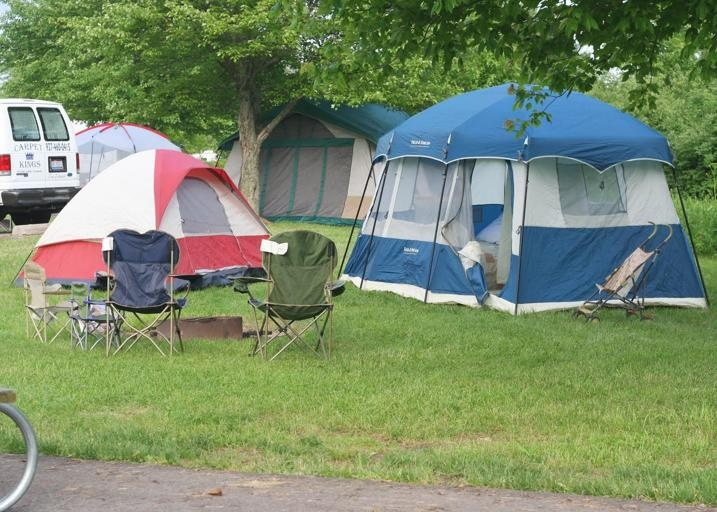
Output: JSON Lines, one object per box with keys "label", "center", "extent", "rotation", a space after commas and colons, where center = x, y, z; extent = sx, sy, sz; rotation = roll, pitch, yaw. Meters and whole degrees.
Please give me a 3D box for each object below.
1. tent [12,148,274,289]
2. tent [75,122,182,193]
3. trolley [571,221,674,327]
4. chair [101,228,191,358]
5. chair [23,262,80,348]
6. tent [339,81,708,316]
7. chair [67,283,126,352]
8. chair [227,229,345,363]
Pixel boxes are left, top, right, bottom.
{"label": "tent", "center": [-3.713, -0.811, 16.727], "extent": [3.363, 2.045, 4.098], "rotation": [-1, 3, 30]}
{"label": "tent", "center": [-6.330, -2.964, 25.495], "extent": [2.678, 1.047, 2.655], "rotation": [1, 5, 11]}
{"label": "trolley", "center": [4.028, 0.193, 14.482], "extent": [1.146, 1.462, 1.744], "rotation": [5, 5, 27]}
{"label": "chair", "center": [-2.862, 0.481, 12.623], "extent": [1.413, 1.657, 1.421], "rotation": [0, 0, 35]}
{"label": "chair", "center": [-4.091, 0.595, 12.987], "extent": [0.668, 0.940, 0.586], "rotation": [3, 4, -27]}
{"label": "tent", "center": [2.565, -1.031, 15.504], "extent": [4.947, 3.631, 2.511], "rotation": [6, 5, 37]}
{"label": "chair", "center": [-3.481, 0.799, 12.767], "extent": [0.813, 0.881, 0.874], "rotation": [1, 1, 43]}
{"label": "chair", "center": [-0.885, 0.444, 12.689], "extent": [1.151, 1.631, 1.620], "rotation": [3, 4, -1]}
